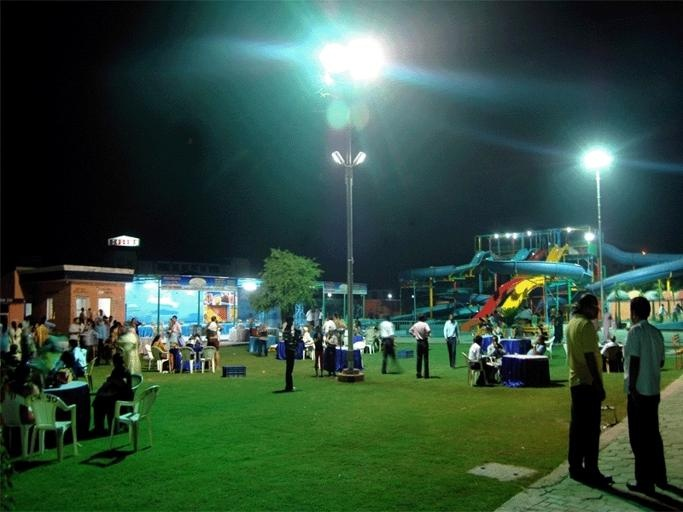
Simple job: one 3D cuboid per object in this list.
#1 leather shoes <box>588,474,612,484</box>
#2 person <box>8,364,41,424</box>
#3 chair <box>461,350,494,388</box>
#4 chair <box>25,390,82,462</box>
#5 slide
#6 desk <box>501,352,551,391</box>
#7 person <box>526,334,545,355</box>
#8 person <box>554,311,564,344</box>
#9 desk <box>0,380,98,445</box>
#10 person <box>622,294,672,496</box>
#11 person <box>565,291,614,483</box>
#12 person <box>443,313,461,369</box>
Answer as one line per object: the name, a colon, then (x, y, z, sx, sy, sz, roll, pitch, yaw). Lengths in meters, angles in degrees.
leather shoes: (3.863, 3.264, 9.409, 0.374, 0.126, 0.129, -1, -1, -13)
person: (-5.164, 2.253, 10.428, 0.500, 1.173, 1.460, 0, -1, -27)
chair: (3.888, 3.240, 18.090, 0.871, 1.201, 0.746, -3, -5, 20)
chair: (-5.042, 2.885, 11.199, 0.778, 1.117, 1.125, 0, -1, -26)
slide: (12.859, 2.324, 46.723, 9.595, 2.789, 1.812, -34, 13, -37)
desk: (5.253, 3.235, 18.276, 1.291, 0.867, 1.289, 1, -2, -15)
person: (6.147, 2.719, 19.868, 0.353, 0.538, 1.297, -1, -1, 15)
person: (10.569, 3.542, 31.103, 0.382, 1.233, 1.411, -1, -1, 15)
desk: (-5.363, 2.840, 11.775, 1.021, 0.667, 1.042, 0, -6, -3)
person: (4.439, 1.970, 9.319, 0.582, 2.594, 0.603, -1, -1, 6)
person: (3.721, 1.956, 9.646, 0.580, 2.446, 0.532, -1, -1, 19)
person: (3.918, 2.953, 22.647, 0.415, 1.402, 0.979, -1, -1, 8)
